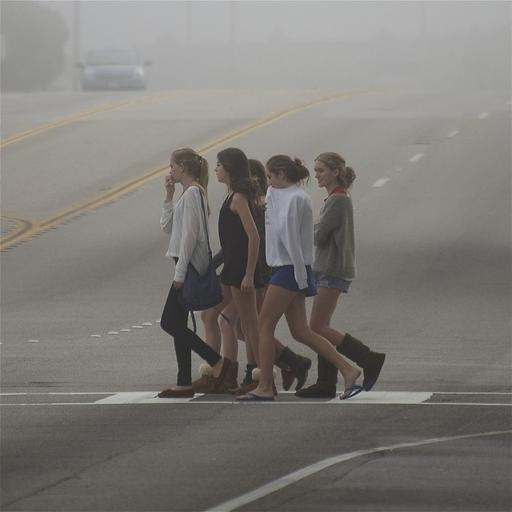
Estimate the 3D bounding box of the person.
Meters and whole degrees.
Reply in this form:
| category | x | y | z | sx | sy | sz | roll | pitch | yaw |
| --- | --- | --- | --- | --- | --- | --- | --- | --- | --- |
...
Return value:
| category | x | y | z | sx | sy | sz | roll | pitch | yaw |
| --- | --- | --- | --- | --- | --- | --- | --- | --- | --- |
| person | -0.088 | 0.110 | 7.050 | 1.043 | 1.589 | 0.444 | 1 | 5 | -7 |

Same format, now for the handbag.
| category | x | y | z | sx | sy | sz | roll | pitch | yaw |
| --- | --- | --- | --- | --- | --- | --- | --- | --- | --- |
| handbag | -0.335 | 0.137 | 6.984 | 0.267 | 0.397 | 0.145 | -8 | 9 | 17 |
